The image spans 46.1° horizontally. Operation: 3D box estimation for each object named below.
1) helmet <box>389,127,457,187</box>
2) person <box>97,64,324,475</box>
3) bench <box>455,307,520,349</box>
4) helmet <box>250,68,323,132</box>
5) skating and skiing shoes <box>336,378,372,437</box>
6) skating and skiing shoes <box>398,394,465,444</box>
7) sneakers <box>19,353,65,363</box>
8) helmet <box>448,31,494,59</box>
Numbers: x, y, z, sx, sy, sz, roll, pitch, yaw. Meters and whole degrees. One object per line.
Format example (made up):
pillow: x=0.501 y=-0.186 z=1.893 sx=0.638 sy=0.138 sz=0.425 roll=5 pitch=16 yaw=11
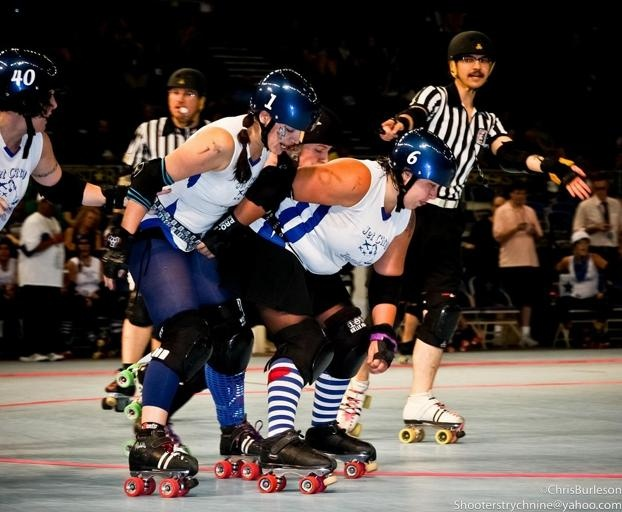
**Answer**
helmet: x=0.552 y=-0.465 z=3.626 sx=0.333 sy=0.234 sz=0.272 roll=29 pitch=7 yaw=1
person: x=-0.497 y=0.027 z=3.349 sx=0.855 sy=1.855 sz=0.568 roll=5 pitch=0 yaw=-16
bench: x=2.607 y=1.053 z=10.778 sx=1.366 sy=0.670 sz=0.747 roll=1 pitch=-6 yaw=-12
helmet: x=-0.115 y=-0.724 z=3.320 sx=0.320 sy=0.291 sz=0.241 roll=4 pitch=0 yaw=9
skating and skiing shoes: x=0.303 y=0.940 z=4.615 sx=0.158 sy=0.179 sz=0.440 roll=20 pitch=28 yaw=-5
skating and skiing shoes: x=0.787 y=1.031 z=4.563 sx=0.253 sy=0.251 sz=0.476 roll=9 pitch=-14 yaw=-41
sneakers: x=-3.524 y=1.342 z=9.608 sx=0.503 sy=0.133 sz=0.164 roll=3 pitch=-4 yaw=-4
helmet: x=1.087 y=-1.444 z=4.999 sx=0.274 sy=0.127 sz=0.255 roll=4 pitch=9 yaw=31
